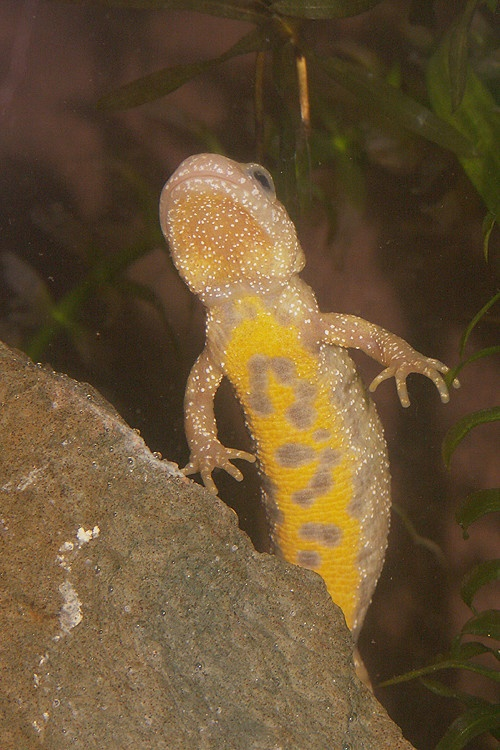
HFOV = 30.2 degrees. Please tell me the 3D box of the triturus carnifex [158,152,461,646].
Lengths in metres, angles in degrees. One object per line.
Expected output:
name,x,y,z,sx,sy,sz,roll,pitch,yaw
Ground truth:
triturus carnifex,0.131,0.028,2.521,0.558,0.505,1.521,0,98,9
